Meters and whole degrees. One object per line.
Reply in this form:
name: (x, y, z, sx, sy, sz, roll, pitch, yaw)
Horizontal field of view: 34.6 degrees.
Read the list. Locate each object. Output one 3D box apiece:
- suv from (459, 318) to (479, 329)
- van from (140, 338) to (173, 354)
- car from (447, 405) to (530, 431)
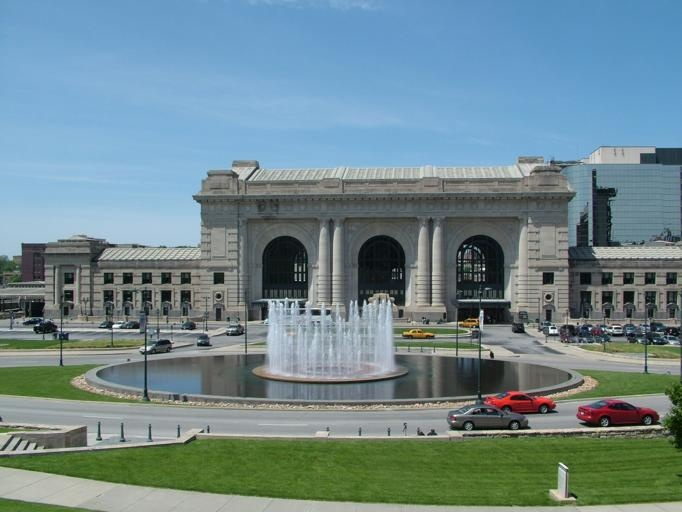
suv: (17.067, 9.300, 146.514, 2.990, 1.097, 2.093, 2, -3, 15)
van: (-20.318, 9.890, 118.602, 2.881, 1.845, 5.086, -6, -9, 35)
car: (11.397, 12.773, 86.458, 5.893, 1.756, 1.200, -1, 7, 3)
